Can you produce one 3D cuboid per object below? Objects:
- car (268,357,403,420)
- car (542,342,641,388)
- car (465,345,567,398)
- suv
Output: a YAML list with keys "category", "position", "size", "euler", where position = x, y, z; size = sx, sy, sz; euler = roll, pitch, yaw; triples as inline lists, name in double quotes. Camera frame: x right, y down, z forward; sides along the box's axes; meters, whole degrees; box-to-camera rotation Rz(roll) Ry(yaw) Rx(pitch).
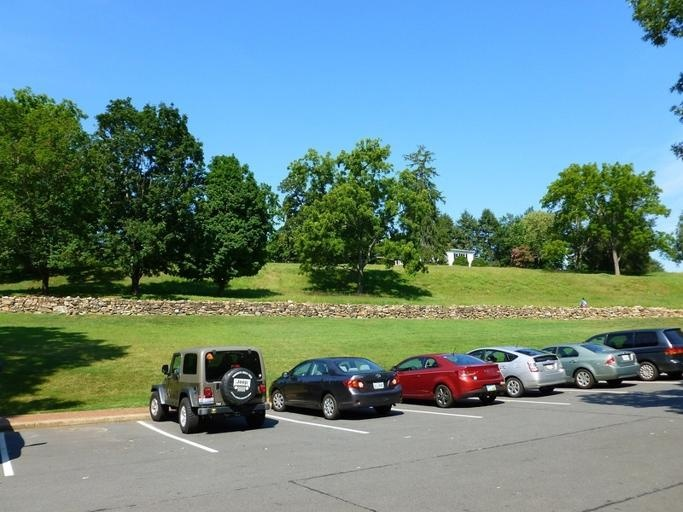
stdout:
- category: "car"
  position: [-0.230, 4.088, 19.503]
  size: [3.793, 1.812, 1.402]
  euler: [-3, -7, 41]
- category: "car"
  position: [9.334, 4.080, 23.483]
  size: [1.637, 1.173, 3.538]
  euler: [2, -2, -37]
- category: "car"
  position: [6.262, 4.160, 22.533]
  size: [1.642, 1.188, 3.486]
  euler: [2, -2, -36]
- category: "suv"
  position: [-3.752, 3.615, 17.783]
  size: [2.000, 1.633, 3.320]
  euler: [4, -4, -35]
